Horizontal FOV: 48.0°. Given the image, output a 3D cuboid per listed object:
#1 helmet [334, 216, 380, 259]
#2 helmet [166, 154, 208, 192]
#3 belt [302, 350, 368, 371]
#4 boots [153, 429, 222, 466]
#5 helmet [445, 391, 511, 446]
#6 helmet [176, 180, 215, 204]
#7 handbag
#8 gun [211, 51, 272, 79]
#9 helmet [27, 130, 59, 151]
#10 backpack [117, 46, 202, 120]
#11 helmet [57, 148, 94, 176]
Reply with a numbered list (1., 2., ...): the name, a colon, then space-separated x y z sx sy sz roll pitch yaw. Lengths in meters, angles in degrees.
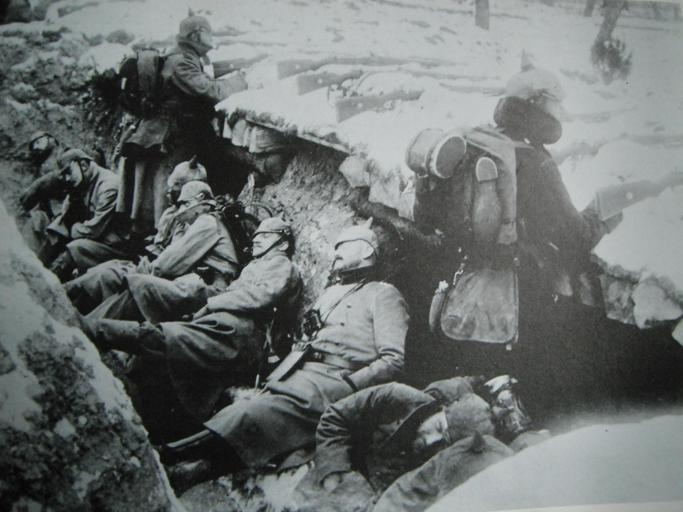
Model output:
1. helmet: 0.124 -0.149 6.546 0.370 0.232 0.257 -1 34 -4
2. helmet: -1.358 -0.710 6.679 0.347 0.289 0.220 8 15 -20
3. belt: -0.058 0.872 6.342 0.259 0.067 0.242 18 -9 -17
4. boots: -1.200 1.504 6.155 0.689 0.200 0.192 -10 6 -13
5. helmet: 1.068 1.328 6.330 0.426 0.238 0.252 -4 34 -9
6. helmet: -1.263 -0.549 6.646 0.233 0.142 0.195 3 -5 -5
7. handbag: 1.182 0.427 6.550 0.651 0.414 0.488 4 34 3
8. gun: -0.881 -1.688 6.801 0.577 0.210 0.161 -11 11 -8
9. helmet: -2.567 -1.006 6.616 0.202 0.160 0.149 -38 13 -32
10. backpack: -1.605 -1.498 6.733 0.617 0.645 0.467 -5 5 -9
11. helmet: -2.299 -0.812 6.649 0.236 0.128 0.168 -12 -22 -34
